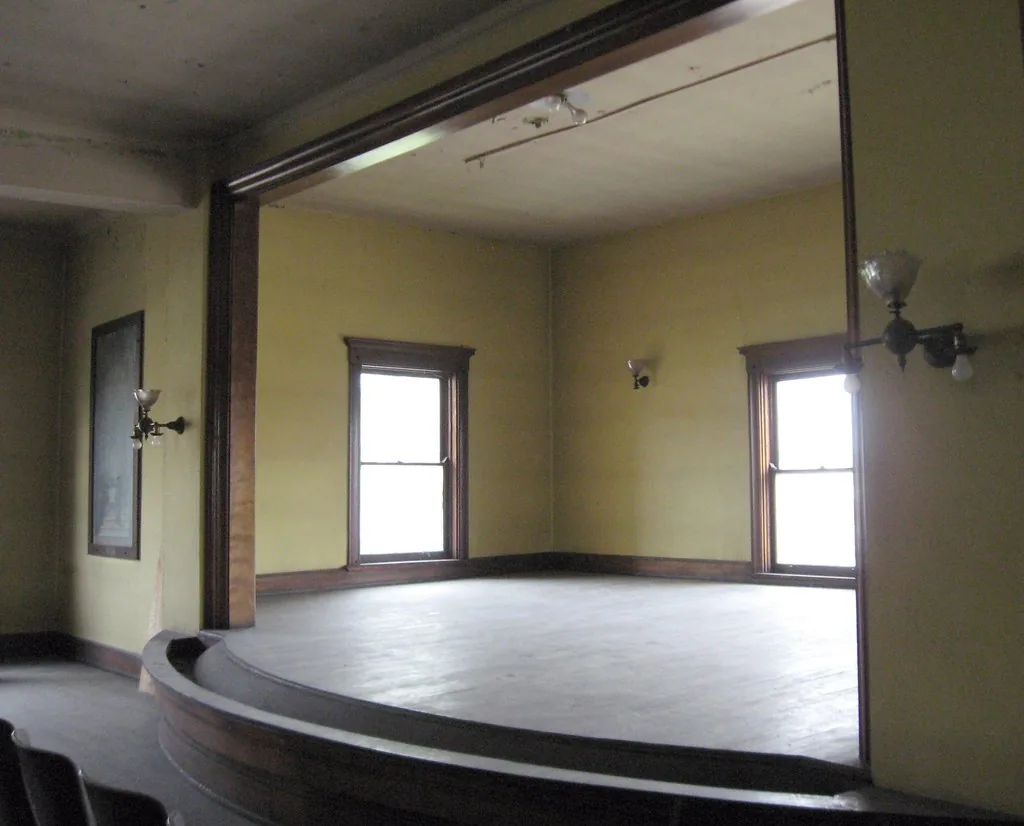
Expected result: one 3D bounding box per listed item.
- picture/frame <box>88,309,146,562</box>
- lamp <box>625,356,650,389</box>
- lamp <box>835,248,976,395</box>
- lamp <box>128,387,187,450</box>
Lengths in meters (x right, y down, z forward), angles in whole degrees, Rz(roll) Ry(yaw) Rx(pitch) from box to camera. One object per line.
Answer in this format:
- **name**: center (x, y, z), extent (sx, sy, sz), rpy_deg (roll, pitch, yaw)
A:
- **picture/frame**: center (-2.915, 0.208, 6.275), extent (0.086, 1.999, 1.727), rpy_deg (5, -9, -35)
- **lamp**: center (1.211, -0.382, 8.173), extent (0.146, 0.271, 0.228), rpy_deg (0, -10, -36)
- **lamp**: center (1.198, -0.256, 2.579), extent (0.435, 0.385, 0.335), rpy_deg (-7, -8, 44)
- **lamp**: center (-2.429, 0.029, 5.702), extent (0.309, 0.401, 0.752), rpy_deg (2, -5, -35)
